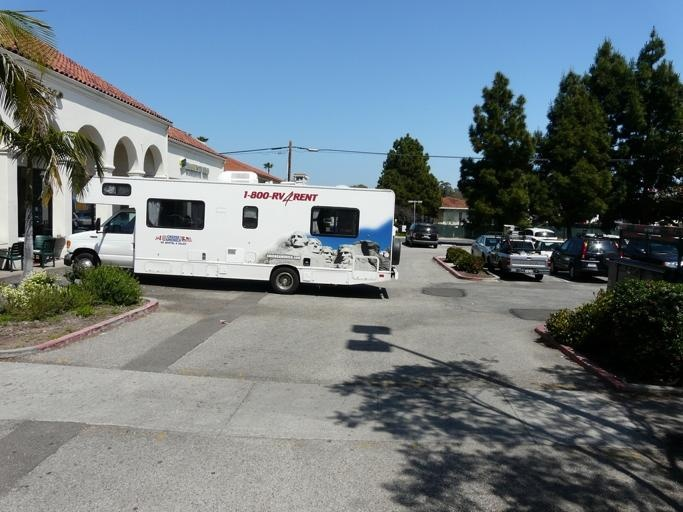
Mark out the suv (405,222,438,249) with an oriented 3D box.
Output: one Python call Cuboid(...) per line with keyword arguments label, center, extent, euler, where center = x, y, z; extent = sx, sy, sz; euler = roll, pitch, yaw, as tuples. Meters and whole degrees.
Cuboid(label="suv", center=(6.763, -1.689, 40.901), extent=(2.067, 1.999, 2.612), euler=(2, 6, -3))
